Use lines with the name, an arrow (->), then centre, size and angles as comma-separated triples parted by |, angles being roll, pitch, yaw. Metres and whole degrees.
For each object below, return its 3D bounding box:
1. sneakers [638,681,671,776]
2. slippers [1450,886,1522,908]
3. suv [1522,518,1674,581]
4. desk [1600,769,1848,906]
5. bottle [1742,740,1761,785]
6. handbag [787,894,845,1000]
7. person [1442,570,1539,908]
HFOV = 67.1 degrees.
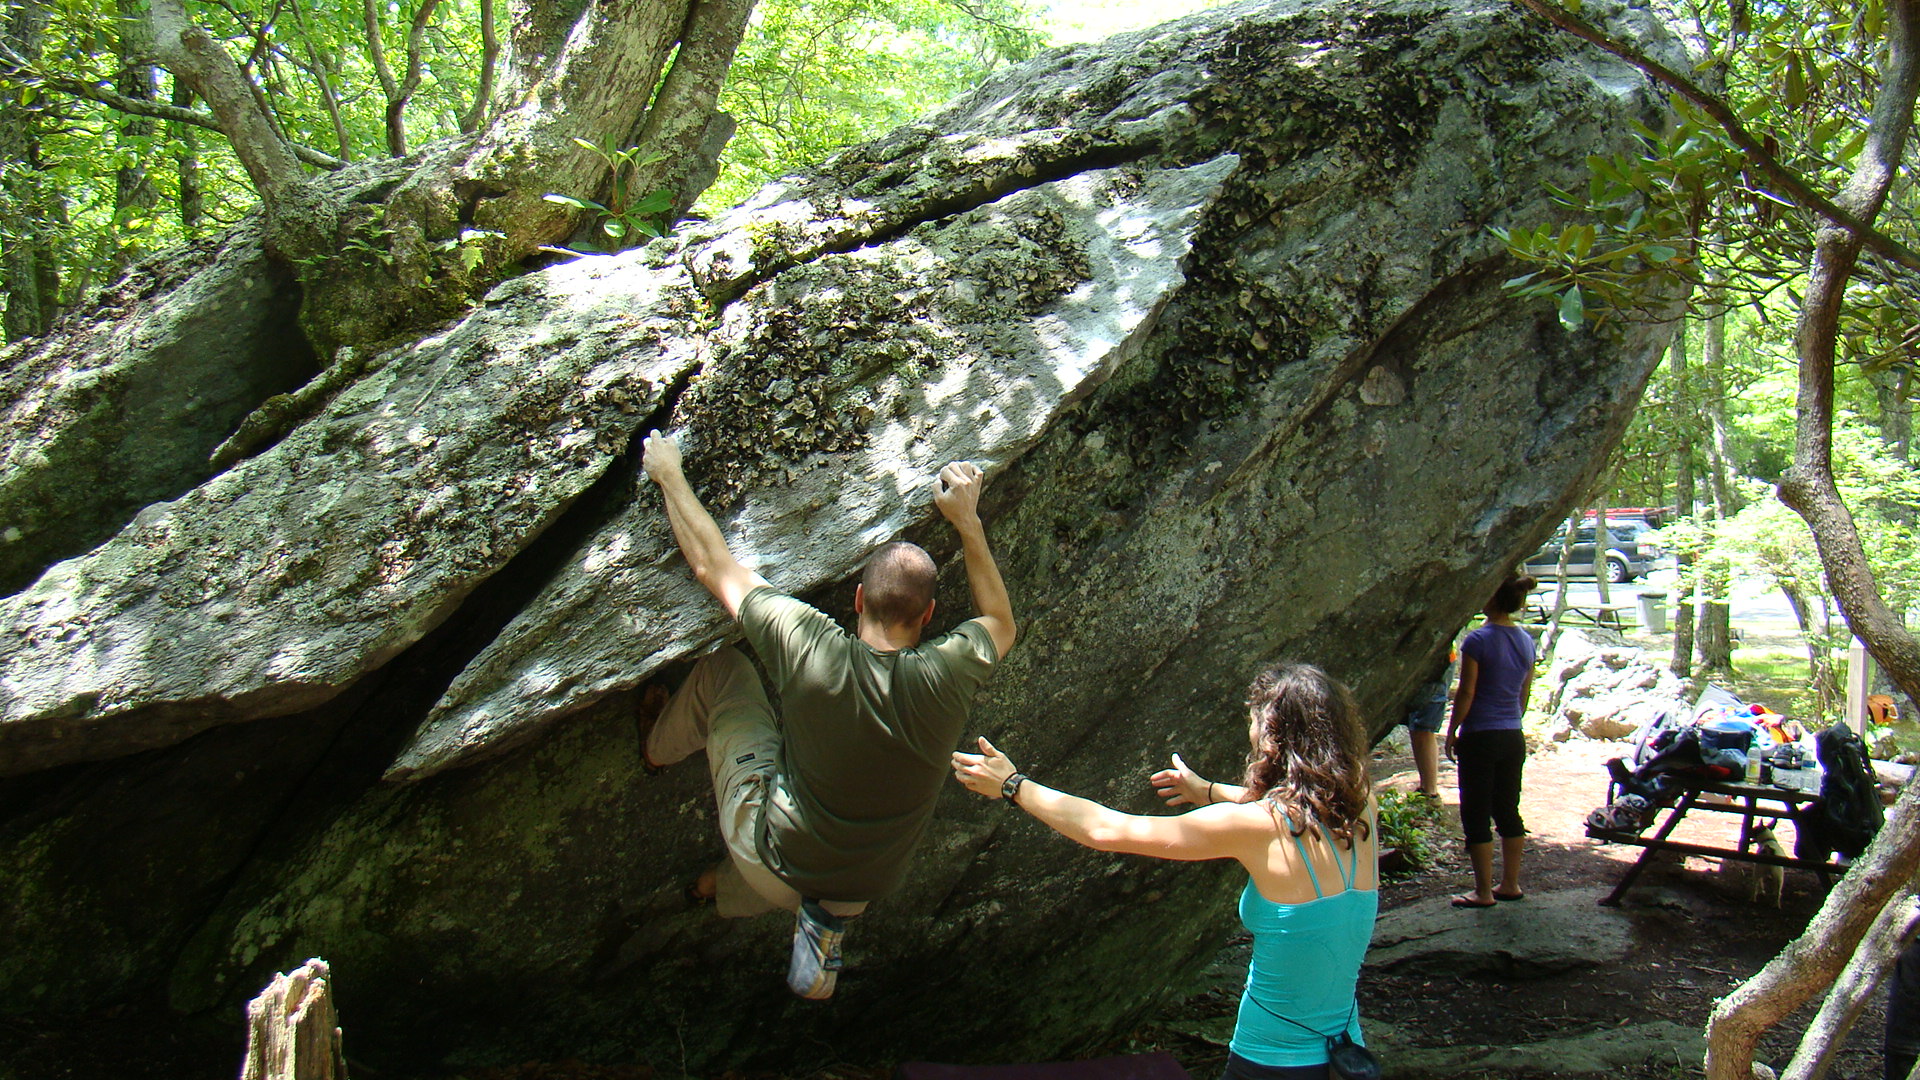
sneakers -> -2.115, 1.261, 9.835 | 0.211, 0.554, 0.251 | 9, 2, -34
slippers -> 4.394, 3.003, 12.237 | 0.653, 0.240, 0.206 | 2, -7, -9
suv -> 11.685, 0.197, 26.293 | 3.052, 0.990, 1.341 | 2, 3, 13
desk -> 6.704, 2.622, 12.632 | 1.735, 1.038, 2.226 | 7, -2, 31
bottle -> 6.420, 1.808, 11.727 | 0.048, 0.260, 0.147 | 10, -2, -26
handbag -> -0.931, 2.656, 9.532 | 0.393, 0.578, 0.457 | 14, -5, -28
person -> 4.517, 1.667, 12.267 | 0.591, 2.505, 1.088 | 8, -2, 44
